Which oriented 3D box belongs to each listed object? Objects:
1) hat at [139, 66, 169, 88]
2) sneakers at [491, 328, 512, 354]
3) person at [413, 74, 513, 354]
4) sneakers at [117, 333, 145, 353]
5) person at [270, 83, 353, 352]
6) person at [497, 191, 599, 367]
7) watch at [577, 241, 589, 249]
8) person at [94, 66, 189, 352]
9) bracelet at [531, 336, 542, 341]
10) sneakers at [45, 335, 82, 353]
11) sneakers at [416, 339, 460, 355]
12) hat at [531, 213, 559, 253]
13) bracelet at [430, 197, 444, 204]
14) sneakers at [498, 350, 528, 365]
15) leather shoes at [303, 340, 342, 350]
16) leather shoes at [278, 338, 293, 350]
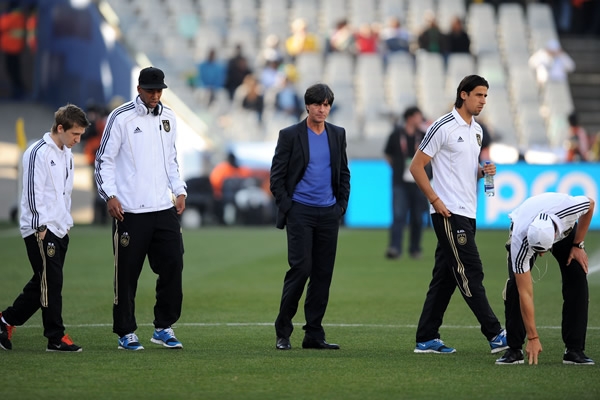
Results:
[{"bbox_3d":[-1.626,-1.359,10.417,0.236,0.166,0.300,-3,10,-26],"label":"hat"},{"bbox_3d":[2.213,1.582,10.317,0.333,0.146,0.119,-17,6,-31],"label":"sneakers"},{"bbox_3d":[1.778,0.159,10.521,1.026,3.119,0.665,0,6,4],"label":"person"},{"bbox_3d":[-1.915,1.606,10.550,0.353,0.151,0.135,-6,-6,39],"label":"sneakers"},{"bbox_3d":[0.142,0.351,10.691,0.904,2.673,0.527,-1,6,-1],"label":"person"},{"bbox_3d":[2.673,0.856,10.067,1.019,1.853,0.551,0,6,12],"label":"person"},{"bbox_3d":[3.040,0.484,10.087,0.099,0.054,0.073,-1,1,10],"label":"watch"},{"bbox_3d":[-1.763,0.094,10.547,0.986,3.160,0.503,-2,6,-8],"label":"person"},{"bbox_3d":[2.510,1.485,10.009,0.106,0.051,0.096,0,6,10],"label":"bracelet"},{"bbox_3d":[-2.602,1.613,10.464,0.442,0.178,0.156,1,0,2],"label":"sneakers"},{"bbox_3d":[1.524,1.641,10.543,0.505,0.196,0.174,0,-4,3],"label":"sneakers"},{"bbox_3d":[2.545,0.346,9.791,0.265,0.386,0.217,10,-1,18],"label":"hat"},{"bbox_3d":[1.500,0.010,10.396,0.084,0.023,0.071,-30,-4,40],"label":"bracelet"},{"bbox_3d":[2.316,1.713,10.146,0.365,0.162,0.132,1,-8,-4],"label":"sneakers"},{"bbox_3d":[0.258,1.625,10.687,0.444,0.165,0.143,0,-3,0],"label":"leather shoes"},{"bbox_3d":[-0.170,1.632,10.604,0.166,0.120,0.175,-1,6,0],"label":"leather shoes"}]
